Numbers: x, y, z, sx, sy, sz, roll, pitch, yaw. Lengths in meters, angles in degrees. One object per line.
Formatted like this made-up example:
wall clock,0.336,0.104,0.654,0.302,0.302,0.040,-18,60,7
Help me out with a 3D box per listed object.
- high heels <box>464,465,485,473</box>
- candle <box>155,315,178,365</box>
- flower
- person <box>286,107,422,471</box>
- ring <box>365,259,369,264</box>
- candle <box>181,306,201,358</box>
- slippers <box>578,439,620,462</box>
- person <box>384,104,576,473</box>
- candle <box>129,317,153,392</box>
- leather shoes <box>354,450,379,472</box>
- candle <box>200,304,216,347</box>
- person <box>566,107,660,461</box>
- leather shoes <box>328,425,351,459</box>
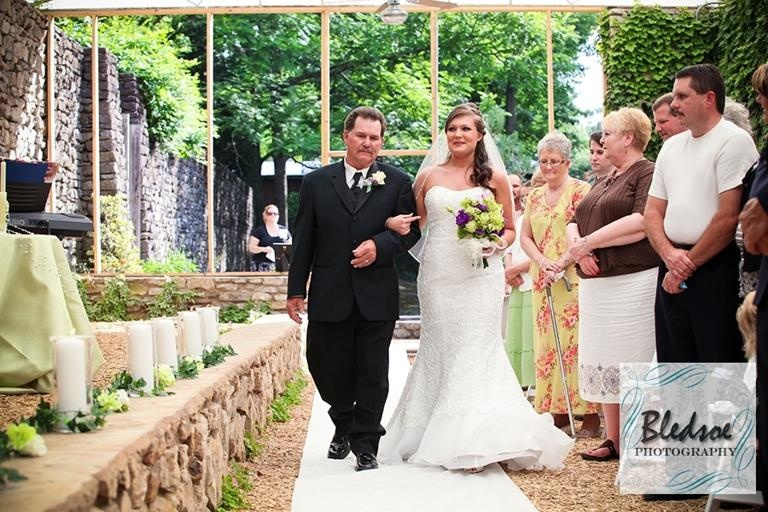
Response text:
high heels,0.610,1.468,5.303,0.139,0.058,0.046,-3,12,-2
candle,-1.355,0.543,4.844,0.114,0.314,0.264,-2,11,-5
flower,0.674,-0.143,5.566,0.463,0.622,0.527,-3,13,29
person,-0.279,0.205,5.893,1.012,2.681,0.873,0,0,-5
ring,-0.120,0.045,5.376,0.023,0.022,0.018,-4,21,-3
candle,-1.276,0.544,5.143,0.123,0.289,0.444,-4,12,-12
slippers,1.546,1.443,5.663,0.288,0.115,0.114,0,-8,-5
person,0.527,0.237,5.665,1.027,2.637,1.563,-2,2,-43
candle,-1.392,0.596,4.447,0.145,0.384,0.194,-5,12,-19
leather shoes,-0.123,1.440,5.372,0.162,0.117,0.109,-2,11,-2
candle,-1.231,0.510,5.461,0.120,0.236,0.315,-4,12,-13
person,1.654,0.175,5.752,0.818,2.573,0.889,4,-5,-21
leather shoes,-0.334,1.403,5.716,0.107,0.136,0.318,2,4,8
